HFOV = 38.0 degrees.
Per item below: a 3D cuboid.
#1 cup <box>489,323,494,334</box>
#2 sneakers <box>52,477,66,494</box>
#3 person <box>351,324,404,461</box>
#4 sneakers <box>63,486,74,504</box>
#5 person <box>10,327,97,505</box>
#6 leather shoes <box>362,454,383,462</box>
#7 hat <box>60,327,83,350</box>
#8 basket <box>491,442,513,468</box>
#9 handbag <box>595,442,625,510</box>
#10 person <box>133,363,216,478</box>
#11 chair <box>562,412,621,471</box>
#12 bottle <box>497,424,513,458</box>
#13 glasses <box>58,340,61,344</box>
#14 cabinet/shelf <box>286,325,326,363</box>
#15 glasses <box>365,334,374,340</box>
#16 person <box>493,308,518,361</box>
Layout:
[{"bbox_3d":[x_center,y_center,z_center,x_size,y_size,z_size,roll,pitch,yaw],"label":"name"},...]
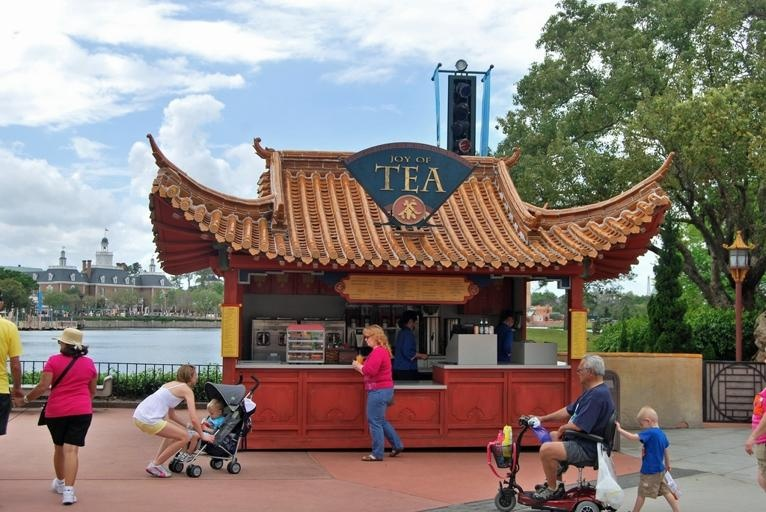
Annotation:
[{"bbox_3d":[2.767,1.883,28.319,0.158,0.277,0.153,0,-7,0],"label":"cup"},{"bbox_3d":[-7.142,5.103,24.495,0.180,0.205,0.473,2,0,-22],"label":"sneakers"},{"bbox_3d":[-0.088,3.329,27.016,1.074,3.229,0.810,-1,-3,0],"label":"person"},{"bbox_3d":[-6.802,5.193,24.082,0.282,0.390,0.291,0,-3,-15],"label":"sneakers"},{"bbox_3d":[-6.898,3.503,24.289,1.232,3.790,0.583,0,-3,-16],"label":"person"},{"bbox_3d":[-0.256,4.898,26.743,0.492,0.165,0.189,3,-7,-3],"label":"leather shoes"},{"bbox_3d":[-6.848,1.804,24.327,0.515,0.188,0.455,16,-2,23],"label":"hat"},{"bbox_3d":[2.525,4.320,23.963,0.472,0.471,0.520,3,-12,-13],"label":"basket"},{"bbox_3d":[4.775,4.675,23.529,0.546,1.393,0.283,-1,-3,9],"label":"handbag"},{"bbox_3d":[-4.896,3.808,25.532,1.513,2.546,1.022,-1,-3,-4],"label":"person"},{"bbox_3d":[4.545,3.998,24.307,1.223,1.488,1.186,3,-8,3],"label":"chair"},{"bbox_3d":[2.606,3.989,23.921,0.388,0.611,0.224,-1,2,-27],"label":"bottle"},{"bbox_3d":[-7.114,1.917,24.474,0.060,0.075,0.071,4,-9,-41],"label":"glasses"},{"bbox_3d":[-2.061,2.267,27.958,1.060,0.945,0.579,2,-5,-27],"label":"cabinet/shelf"},{"bbox_3d":[-0.348,1.987,26.820,0.143,0.110,0.307,1,-3,-38],"label":"glasses"},{"bbox_3d":[3.164,2.106,28.786,0.512,1.333,1.705,-1,-3,5],"label":"person"}]
